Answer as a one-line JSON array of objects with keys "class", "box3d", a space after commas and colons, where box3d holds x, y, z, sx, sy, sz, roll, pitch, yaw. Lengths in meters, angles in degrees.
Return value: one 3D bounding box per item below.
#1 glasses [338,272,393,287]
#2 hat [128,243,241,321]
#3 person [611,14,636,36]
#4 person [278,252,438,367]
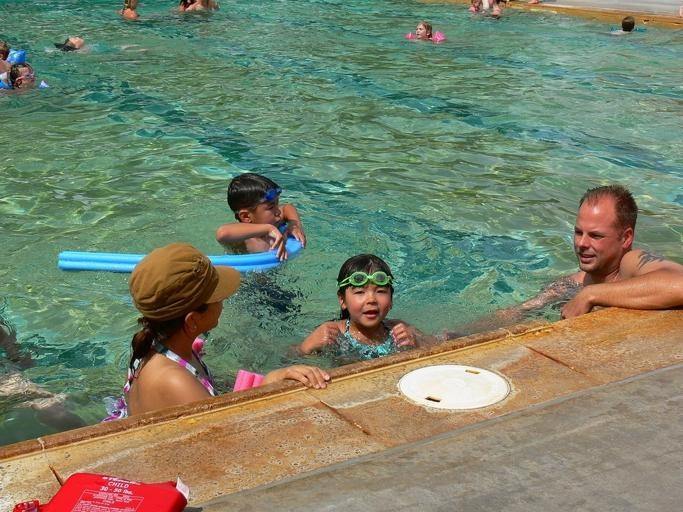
[{"class": "glasses", "box3d": [0.155, 0.167, 3.962, 0.369, 0.162, 0.118, 3, 25, 7]}, {"class": "hat", "box3d": [-0.780, 0.083, 2.808, 0.538, 0.185, 0.358, -22, 41, -31]}, {"class": "person", "box3d": [7.759, -6.242, 15.592, 0.789, 0.216, 1.019, 9, 45, 11]}, {"class": "person", "box3d": [0.252, 0.449, 4.113, 1.526, 0.645, 0.471, 0, -17, 10]}]
